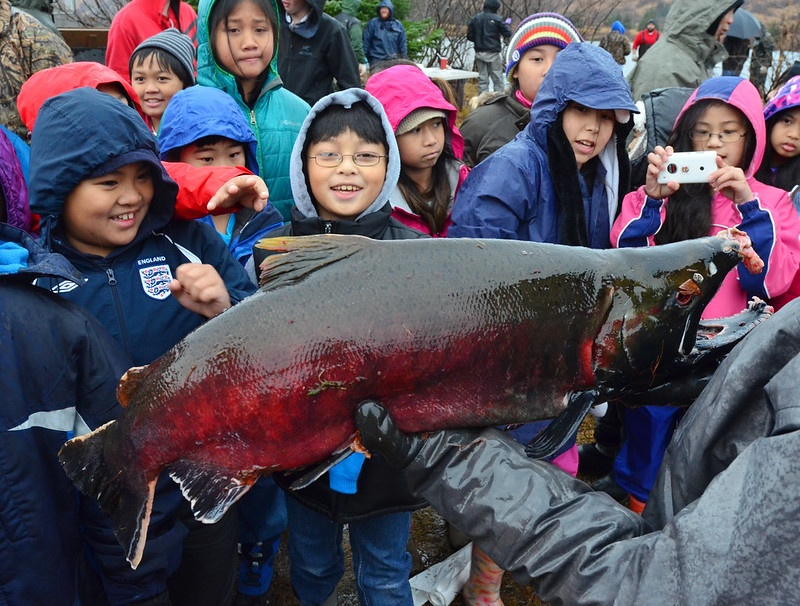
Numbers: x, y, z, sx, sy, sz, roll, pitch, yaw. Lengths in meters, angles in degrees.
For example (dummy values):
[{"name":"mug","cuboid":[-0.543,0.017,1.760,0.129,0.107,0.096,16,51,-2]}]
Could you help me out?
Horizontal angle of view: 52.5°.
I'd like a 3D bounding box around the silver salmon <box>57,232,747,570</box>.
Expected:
[{"name":"silver salmon","cuboid":[-0.076,0.369,3.204,3.054,1.226,0.661,-12,24,2]}]
